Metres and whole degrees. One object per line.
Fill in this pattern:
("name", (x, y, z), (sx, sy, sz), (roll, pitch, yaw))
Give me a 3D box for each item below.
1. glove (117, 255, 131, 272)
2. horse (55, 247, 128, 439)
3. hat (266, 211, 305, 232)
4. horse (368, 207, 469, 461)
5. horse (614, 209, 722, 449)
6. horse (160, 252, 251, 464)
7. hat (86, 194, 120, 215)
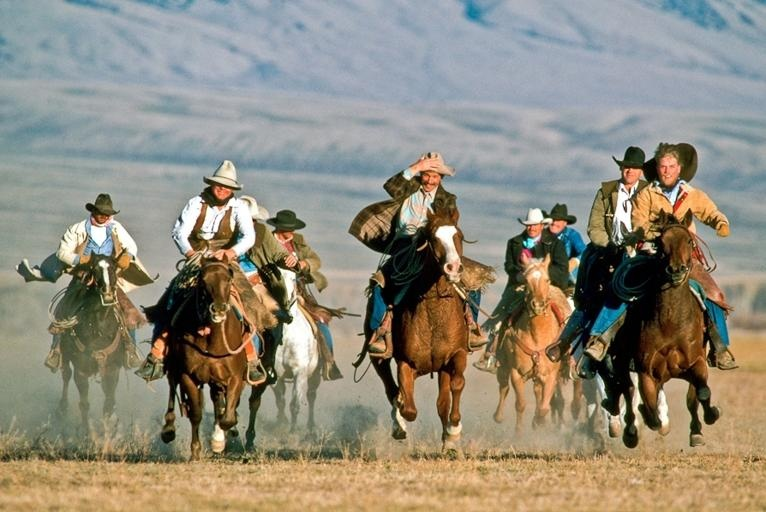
("glove", (-6.419, 0.193, 37.378), (0.289, 0.323, 0.308), (3, -14, -13))
("horse", (-7.182, 2.215, 37.479), (1.550, 4.193, 2.572), (7, -10, -35))
("hat", (-2.223, -0.711, 33.424), (0.514, 0.160, 0.468), (7, 16, 20))
("horse", (0.893, 1.648, 32.903), (1.765, 5.004, 2.846), (3, -8, -12))
("horse", (6.066, 1.602, 32.593), (1.670, 4.764, 2.332), (3, -8, -12))
("horse", (-3.785, 2.248, 32.659), (1.754, 4.182, 2.094), (2, -8, -8))
("hat", (-6.194, -1.037, 33.265), (0.902, 0.401, 1.052), (3, 2, 0))
